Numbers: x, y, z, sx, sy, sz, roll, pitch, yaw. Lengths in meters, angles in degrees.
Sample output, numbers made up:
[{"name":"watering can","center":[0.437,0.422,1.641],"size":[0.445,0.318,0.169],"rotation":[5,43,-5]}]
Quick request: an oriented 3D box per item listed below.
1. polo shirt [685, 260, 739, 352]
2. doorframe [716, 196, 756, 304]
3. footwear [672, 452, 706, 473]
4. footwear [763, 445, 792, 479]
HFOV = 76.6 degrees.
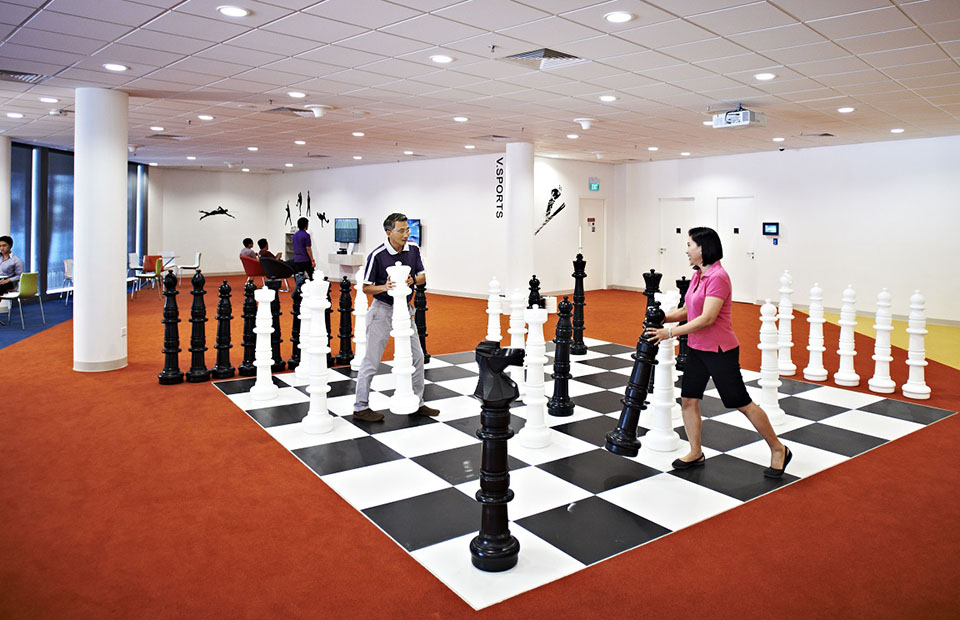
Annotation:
[{"name":"polo shirt","center":[1.798,-0.043,4.730],"size":[0.409,0.662,0.421],"rotation":[5,15,17]},{"name":"doorframe","center":[5.760,-1.478,13.792],"size":[0.865,2.136,0.148],"rotation":[5,-12,-2]},{"name":"footwear","center":[1.642,1.222,4.886],"size":[0.309,0.111,0.105],"rotation":[1,-4,-13]},{"name":"footwear","center":[2.321,1.146,4.756],"size":[0.083,0.117,0.360],"rotation":[23,47,-7]}]
